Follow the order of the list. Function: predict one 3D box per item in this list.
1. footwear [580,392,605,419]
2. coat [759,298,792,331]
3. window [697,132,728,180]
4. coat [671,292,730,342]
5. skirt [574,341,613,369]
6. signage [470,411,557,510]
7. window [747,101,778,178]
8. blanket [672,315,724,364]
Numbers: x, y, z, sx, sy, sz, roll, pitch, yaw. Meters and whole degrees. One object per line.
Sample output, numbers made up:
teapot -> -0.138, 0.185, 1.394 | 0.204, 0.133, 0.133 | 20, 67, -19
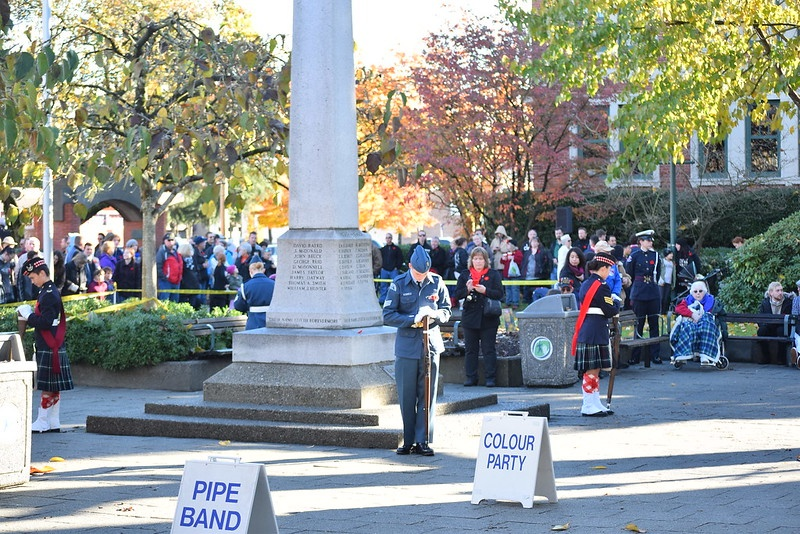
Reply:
footwear -> 3.458, 2.474, 32.316 | 0.429, 0.387, 0.378 | -2, -1, 9
coat -> 7.936, 1.037, 37.901 | 0.621, 0.557, 0.337 | -1, -17, 17
window -> 8.547, -2.925, 49.186 | 0.064, 1.050, 1.091 | -8, 8, -34
coat -> 6.295, 1.043, 37.782 | 0.952, 1.143, 1.191 | -1, -14, 10
skirt -> 3.466, 1.648, 32.567 | 0.746, 0.662, 0.444 | 1, -11, -2
signage -> 1.720, 2.960, 27.674 | 1.271, 1.463, 0.273 | -2, -1, 13
window -> 10.096, -3.513, 49.910 | 0.975, 2.052, 0.063 | 2, 8, 33
blanket -> 6.060, 1.515, 37.051 | 0.823, 1.101, 0.412 | 0, -31, 10
